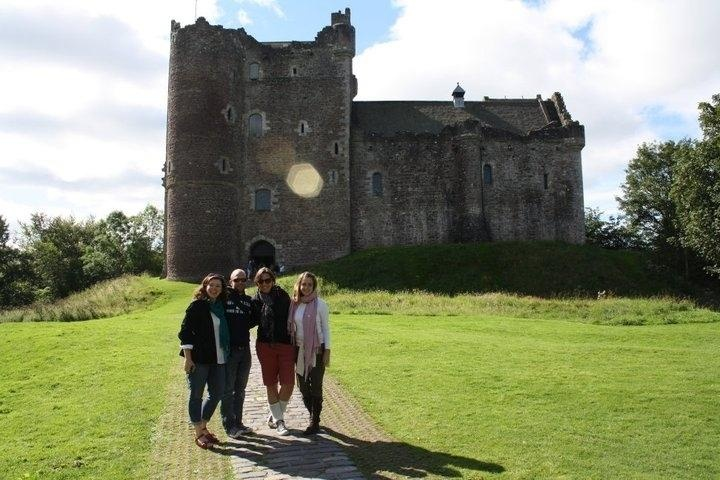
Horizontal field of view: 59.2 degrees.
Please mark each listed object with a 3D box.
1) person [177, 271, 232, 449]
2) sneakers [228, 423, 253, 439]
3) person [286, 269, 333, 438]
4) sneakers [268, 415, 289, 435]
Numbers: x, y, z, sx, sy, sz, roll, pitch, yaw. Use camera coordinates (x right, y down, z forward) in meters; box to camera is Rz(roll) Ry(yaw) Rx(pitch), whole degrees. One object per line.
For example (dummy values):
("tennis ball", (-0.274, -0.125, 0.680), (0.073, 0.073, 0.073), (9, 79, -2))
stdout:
("person", (-3.518, 2.771, 14.623), (1.091, 3.841, 0.970), (-10, 16, -35))
("sneakers", (-2.827, 4.500, 14.948), (0.483, 0.203, 0.266), (-4, 5, -1))
("person", (-1.171, 2.666, 14.986), (0.916, 3.720, 1.001), (-2, 13, -5))
("sneakers", (-1.937, 4.430, 15.128), (0.248, 0.275, 0.691), (16, -8, -36))
